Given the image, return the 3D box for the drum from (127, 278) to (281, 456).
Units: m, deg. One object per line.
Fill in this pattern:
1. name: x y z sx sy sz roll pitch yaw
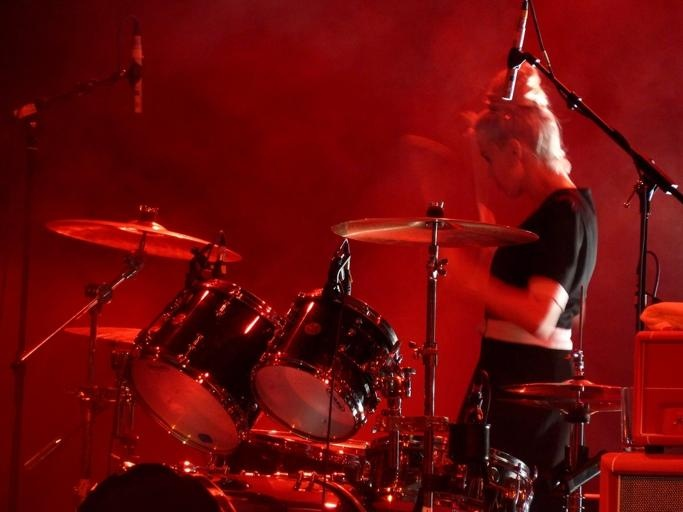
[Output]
1. drum: -0.594 0.454 3.665 0.681 0.646 0.646 17 -8 -10

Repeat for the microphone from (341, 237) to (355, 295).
1. microphone: 0.037 0.060 3.406 0.072 0.298 0.068 1 -4 -9

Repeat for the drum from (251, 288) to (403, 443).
1. drum: -0.089 0.494 3.482 0.561 0.444 0.580 21 -41 20
